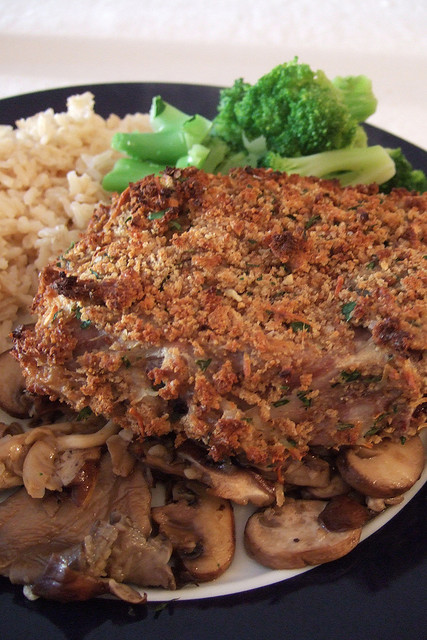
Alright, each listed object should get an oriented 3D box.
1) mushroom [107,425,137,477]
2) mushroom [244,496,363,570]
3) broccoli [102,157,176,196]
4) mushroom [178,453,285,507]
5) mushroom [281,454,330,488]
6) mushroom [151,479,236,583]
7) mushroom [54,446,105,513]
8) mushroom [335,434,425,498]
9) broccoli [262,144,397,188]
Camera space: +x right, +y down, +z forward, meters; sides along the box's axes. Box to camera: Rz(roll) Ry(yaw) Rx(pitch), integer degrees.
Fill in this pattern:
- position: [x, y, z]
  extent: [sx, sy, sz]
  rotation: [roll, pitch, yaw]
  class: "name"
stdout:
- position: [-0.375, 0.519, 2.625]
  extent: [0.109, 0.220, 0.112]
  rotation: [6, 19, 13]
  class: "mushroom"
- position: [0.321, 0.840, 2.530]
  extent: [0.332, 0.194, 0.312]
  rotation: [-9, 18, -30]
  class: "mushroom"
- position: [-0.413, -0.786, 3.564]
  extent: [0.311, 0.183, 0.298]
  rotation: [7, 17, 21]
  class: "broccoli"
- position: [0.067, 0.634, 2.593]
  extent: [0.350, 0.440, 0.104]
  rotation: [7, 51, 17]
  class: "mushroom"
- position: [0.363, 0.603, 2.599]
  extent: [0.209, 0.140, 0.073]
  rotation: [-5, 19, -19]
  class: "mushroom"
- position: [-0.051, 0.816, 2.569]
  extent: [0.324, 0.098, 0.358]
  rotation: [2, 44, -5]
  class: "mushroom"
- position: [-0.542, 0.621, 2.607]
  extent: [0.167, 0.197, 0.233]
  rotation: [2, 16, 4]
  class: "mushroom"
- position: [0.689, 0.584, 2.578]
  extent: [0.367, 0.201, 0.182]
  rotation: [-4, 18, -17]
  class: "mushroom"
- position: [0.636, -0.817, 3.441]
  extent: [0.525, 0.153, 0.355]
  rotation: [-24, 41, -24]
  class: "broccoli"
